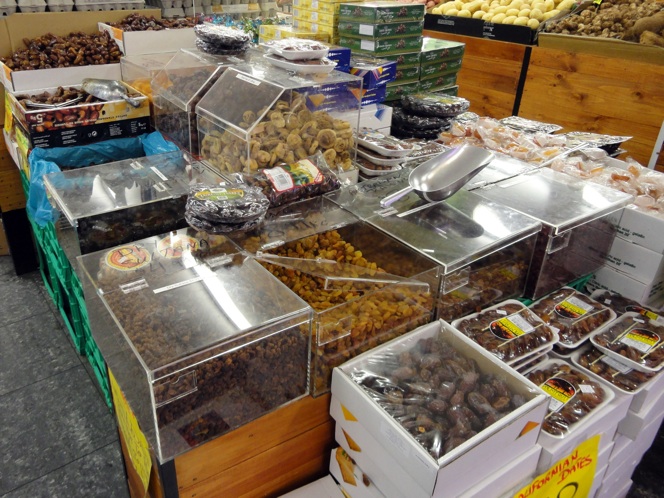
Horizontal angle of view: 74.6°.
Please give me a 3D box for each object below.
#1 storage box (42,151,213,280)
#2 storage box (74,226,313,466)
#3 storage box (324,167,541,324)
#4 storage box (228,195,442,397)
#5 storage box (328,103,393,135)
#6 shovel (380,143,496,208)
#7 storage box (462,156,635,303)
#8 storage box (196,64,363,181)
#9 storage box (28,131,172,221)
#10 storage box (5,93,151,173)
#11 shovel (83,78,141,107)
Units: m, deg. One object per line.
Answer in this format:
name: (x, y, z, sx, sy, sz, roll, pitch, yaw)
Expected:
storage box: (-0.861, -0.177, 1.992, 0.585, 0.322, 0.561, -20, 39, -30)
storage box: (-0.399, 0.368, 1.472, 0.611, 0.362, 0.792, -15, 44, -35)
storage box: (0.402, -0.050, 1.853, 0.635, 0.355, 0.606, -18, 38, -27)
storage box: (-0.059, 0.216, 1.786, 0.697, 0.394, 0.676, -20, 46, -31)
storage box: (0.142, -0.698, 2.335, 0.170, 0.191, 0.305, -31, 47, -32)
shovel: (0.507, -0.333, 1.911, 0.575, 0.126, 0.232, -28, 45, -16)
storage box: (1.005, -0.055, 2.085, 0.649, 0.355, 0.627, -24, 39, -32)
storage box: (-0.212, -0.553, 2.153, 0.682, 0.419, 0.622, -23, 43, -33)
storage box: (-1.296, -0.536, 2.372, 0.716, 0.289, 0.704, -22, 47, -33)
storage box: (-1.514, -0.624, 2.706, 0.657, 0.363, 0.651, -21, 34, -36)
shovel: (-1.332, -0.956, 2.662, 0.367, 0.090, 0.222, 26, 39, 12)
